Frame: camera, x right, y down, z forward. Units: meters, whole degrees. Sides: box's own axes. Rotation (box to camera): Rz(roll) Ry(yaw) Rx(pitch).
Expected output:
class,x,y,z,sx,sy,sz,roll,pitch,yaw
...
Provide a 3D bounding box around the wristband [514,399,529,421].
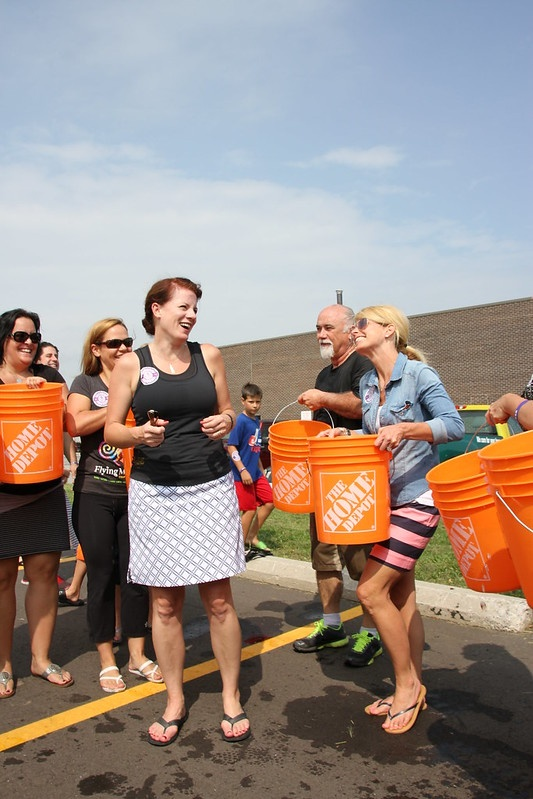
class,x,y,z,sx,sy,sz,roll,pitch,yaw
wristband,1.033,0.043,2.749,0.018,0.072,0.075,31,68,32

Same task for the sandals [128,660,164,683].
class,x,y,z,sx,sy,sz,roll,pitch,yaw
sandals,-0.671,1.492,3.664,0.217,0.076,0.094,-4,-2,44

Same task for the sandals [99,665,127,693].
class,x,y,z,sx,sy,sz,roll,pitch,yaw
sandals,-0.801,1.481,3.510,0.083,0.067,0.170,7,-8,-26

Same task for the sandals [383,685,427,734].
class,x,y,z,sx,sy,sz,roll,pitch,yaw
sandals,0.619,1.398,3.002,0.107,0.053,0.274,-9,9,39

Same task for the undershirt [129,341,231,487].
class,x,y,z,sx,sy,sz,roll,pitch,yaw
undershirt,-0.380,0.056,2.992,0.421,0.650,0.207,-1,-2,-27

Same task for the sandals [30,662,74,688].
class,x,y,z,sx,sy,sz,roll,pitch,yaw
sandals,-1.157,1.484,3.601,0.203,0.073,0.086,5,47,25

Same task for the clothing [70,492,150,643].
class,x,y,z,sx,sy,sz,roll,pitch,yaw
clothing,-0.842,0.865,3.686,0.474,0.850,0.294,-2,-18,-3

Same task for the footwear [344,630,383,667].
class,x,y,z,sx,sy,sz,roll,pitch,yaw
footwear,0.554,1.447,3.891,0.126,0.136,0.315,-6,-10,23

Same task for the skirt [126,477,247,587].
class,x,y,z,sx,sy,sz,roll,pitch,yaw
skirt,-0.386,0.635,3.129,0.380,0.546,0.633,-23,-16,20

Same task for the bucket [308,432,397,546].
class,x,y,z,sx,sy,sz,roll,pitch,yaw
bucket,0.358,0.386,2.944,0.511,0.490,0.475,-4,-5,0

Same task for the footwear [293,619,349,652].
class,x,y,z,sx,sy,sz,roll,pitch,yaw
footwear,0.332,1.472,4.155,0.366,0.156,0.133,3,-8,-24

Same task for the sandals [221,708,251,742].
class,x,y,z,sx,sy,sz,roll,pitch,yaw
sandals,-0.141,1.445,2.942,0.117,0.062,0.277,-1,-5,-5
